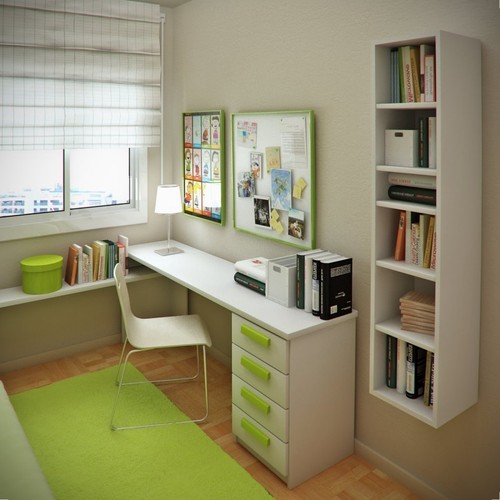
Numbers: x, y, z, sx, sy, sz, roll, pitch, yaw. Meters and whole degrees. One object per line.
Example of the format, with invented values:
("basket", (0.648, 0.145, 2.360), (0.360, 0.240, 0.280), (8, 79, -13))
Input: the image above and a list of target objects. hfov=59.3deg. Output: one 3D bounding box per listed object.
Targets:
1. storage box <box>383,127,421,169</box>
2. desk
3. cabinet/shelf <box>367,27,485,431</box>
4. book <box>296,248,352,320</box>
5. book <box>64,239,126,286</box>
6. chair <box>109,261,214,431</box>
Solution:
("storage box", (0.581, -0.403, 1.734), (0.106, 0.139, 0.069), (2, 4, 13))
("desk", (-0.317, 0.377, 2.808), (1.779, 1.045, 0.551), (25, 37, 37))
("cabinet/shelf", (0.697, -0.062, 1.762), (0.369, 1.457, 0.416), (-6, 11, -36))
("book", (0.338, 0.102, 2.199), (0.238, 0.390, 0.299), (-4, 8, -34))
("book", (-1.179, 0.065, 3.359), (0.465, 0.312, 0.255), (-6, 12, -29))
("chair", (-0.571, 0.560, 2.751), (0.582, 0.939, 0.575), (-4, 15, -25))
